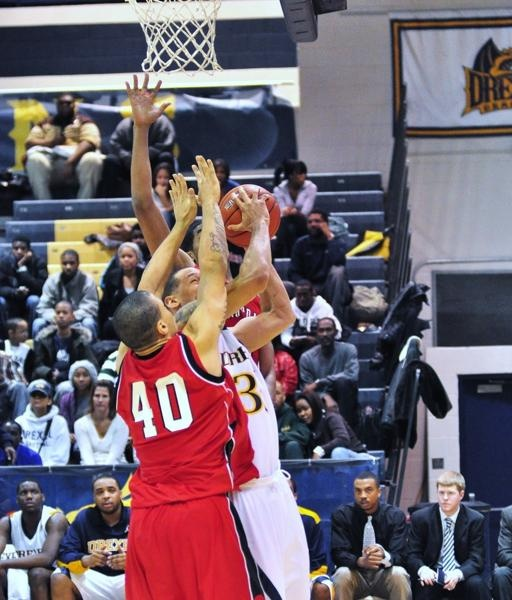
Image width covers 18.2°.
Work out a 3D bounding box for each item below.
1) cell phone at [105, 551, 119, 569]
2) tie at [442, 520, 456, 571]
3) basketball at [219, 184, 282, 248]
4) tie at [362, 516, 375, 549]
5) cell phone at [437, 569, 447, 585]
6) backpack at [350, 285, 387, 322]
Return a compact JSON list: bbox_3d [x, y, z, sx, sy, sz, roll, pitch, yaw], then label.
[{"bbox_3d":[-1.210,2.151,13.367,0.074,0.137,0.130,4,-27,-1],"label":"cell phone"},{"bbox_3d":[1.677,2.108,13.934,0.142,0.418,0.156,-1,2,7],"label":"tie"},{"bbox_3d":[-0.048,-0.629,11.721,0.432,0.467,0.444,-1,1,-2],"label":"basketball"},{"bbox_3d":[0.972,1.967,13.693,0.121,0.252,0.100,-1,2,-6],"label":"tie"},{"bbox_3d":[1.589,2.365,13.682,0.070,0.105,0.094,-1,1,7],"label":"cell phone"},{"bbox_3d":[1.157,0.039,16.420,0.400,0.378,0.289,-1,1,-3],"label":"backpack"}]
